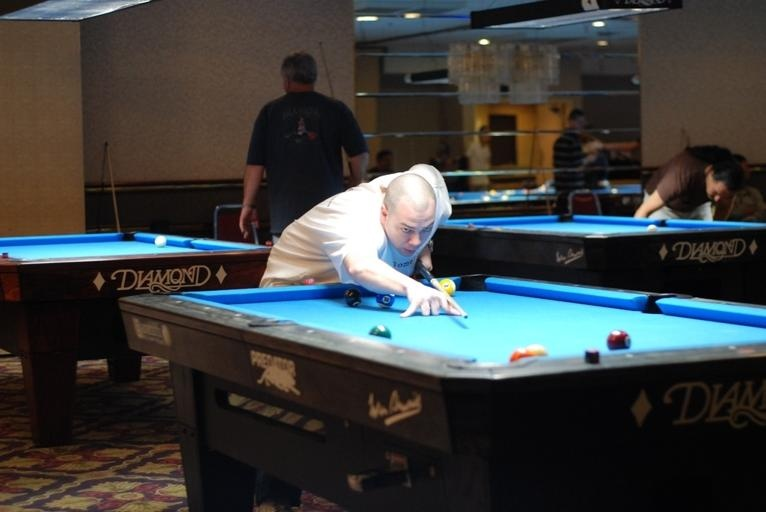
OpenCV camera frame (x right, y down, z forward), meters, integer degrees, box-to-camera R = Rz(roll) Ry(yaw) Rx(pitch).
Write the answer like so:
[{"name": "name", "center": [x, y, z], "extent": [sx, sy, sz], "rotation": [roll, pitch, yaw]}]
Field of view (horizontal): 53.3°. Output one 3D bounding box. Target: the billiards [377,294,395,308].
[{"name": "billiards", "center": [0.009, 0.165, 2.788], "extent": [0.056, 0.040, 0.044], "rotation": [8, 8, 36]}]

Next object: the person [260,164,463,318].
[{"name": "person", "center": [-0.014, -0.079, 3.002], "extent": [0.537, 0.325, 0.818], "rotation": [-15, 23, -33]}]

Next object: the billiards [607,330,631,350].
[{"name": "billiards", "center": [0.665, 0.239, 2.164], "extent": [0.063, 0.053, 0.052], "rotation": [-7, 36, 36]}]

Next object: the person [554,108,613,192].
[{"name": "person", "center": [2.471, -1.304, 9.820], "extent": [0.576, 1.146, 0.607], "rotation": [-3, 13, -22]}]

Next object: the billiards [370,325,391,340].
[{"name": "billiards", "center": [-0.008, 0.228, 2.284], "extent": [0.046, 0.044, 0.043], "rotation": [14, 44, -13]}]

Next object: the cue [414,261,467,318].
[{"name": "cue", "center": [0.198, 0.099, 3.111], "extent": [0.065, 0.061, 0.490], "rotation": [-27, 36, -8]}]

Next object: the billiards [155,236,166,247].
[{"name": "billiards", "center": [-1.349, -0.089, 4.572], "extent": [0.074, 0.067, 0.071], "rotation": [-2, -5, 14]}]

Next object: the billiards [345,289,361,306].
[{"name": "billiards", "center": [-0.114, 0.155, 2.858], "extent": [0.056, 0.059, 0.061], "rotation": [1, 7, -16]}]

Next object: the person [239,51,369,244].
[{"name": "person", "center": [-0.508, -0.419, 5.368], "extent": [0.968, 1.853, 0.608], "rotation": [0, 7, 4]}]
